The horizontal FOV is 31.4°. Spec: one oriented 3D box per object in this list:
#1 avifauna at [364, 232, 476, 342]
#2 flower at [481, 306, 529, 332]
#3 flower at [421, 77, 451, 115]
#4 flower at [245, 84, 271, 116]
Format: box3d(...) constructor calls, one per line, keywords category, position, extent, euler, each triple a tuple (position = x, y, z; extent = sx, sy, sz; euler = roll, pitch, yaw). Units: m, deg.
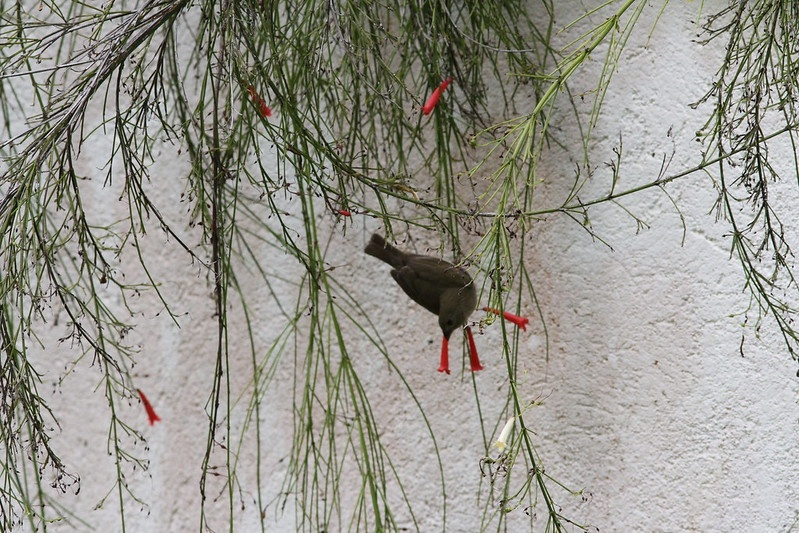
box3d(category="avifauna", position=(0.049, 0.044, 2.782), extent=(0.267, 0.163, 0.137), euler=(30, -21, -33))
box3d(category="flower", position=(0.210, 0.098, 2.776), extent=(0.075, 0.033, 0.017), euler=(23, -48, -18))
box3d(category="flower", position=(0.070, -0.324, 2.747), extent=(0.028, 0.154, 0.024), euler=(11, -57, 22))
box3d(category="flower", position=(-0.270, -0.316, 2.661), extent=(0.026, 0.090, 0.030), euler=(-44, -50, 5))
